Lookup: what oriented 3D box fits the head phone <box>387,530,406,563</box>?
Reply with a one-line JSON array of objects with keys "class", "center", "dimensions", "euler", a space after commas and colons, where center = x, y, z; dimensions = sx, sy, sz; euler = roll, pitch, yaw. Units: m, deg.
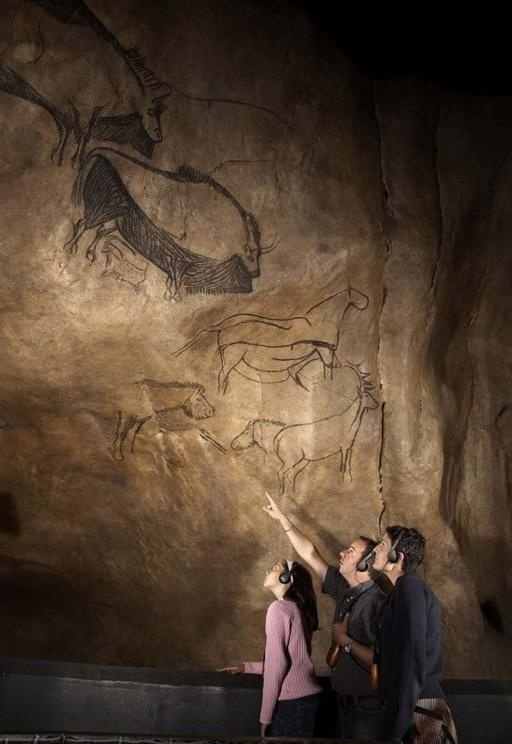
[{"class": "head phone", "center": [0.579, 0.724, 4.002], "dimensions": [0.029, 0.096, 0.098], "euler": [14, -22, 18]}]

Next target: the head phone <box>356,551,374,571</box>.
[{"class": "head phone", "center": [0.501, 0.871, 4.454], "dimensions": [0.027, 0.080, 0.065], "euler": [39, -32, 18]}]
